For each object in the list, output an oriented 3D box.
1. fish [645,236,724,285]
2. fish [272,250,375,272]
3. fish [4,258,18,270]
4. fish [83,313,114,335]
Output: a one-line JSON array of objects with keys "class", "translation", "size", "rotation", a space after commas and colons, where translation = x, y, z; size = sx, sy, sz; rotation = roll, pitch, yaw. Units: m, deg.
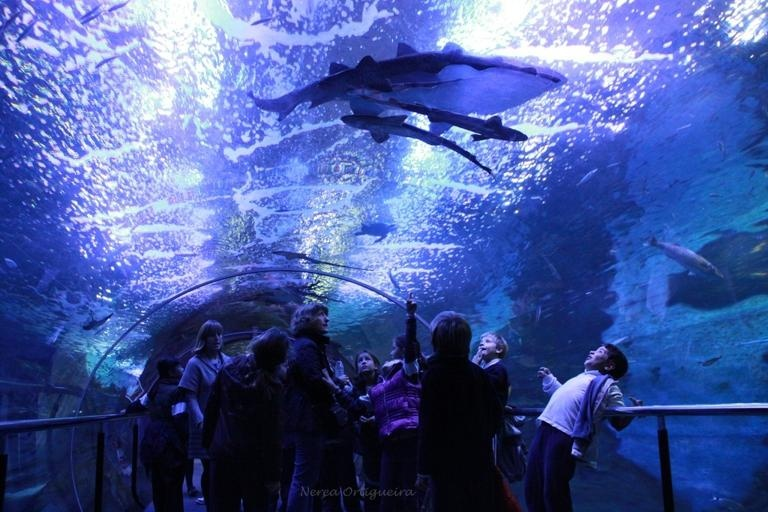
[{"class": "fish", "translation": [6.897, 0.080, 10.315], "size": [1.158, 1.043, 1.217], "rotation": [-1, 6, -8]}, {"class": "fish", "translation": [-1.624, 0.149, 10.459], "size": [2.162, 0.407, 0.338], "rotation": [2, -21, -18]}, {"class": "fish", "translation": [-6.400, 0.136, 7.402], "size": [0.099, 0.143, 0.205], "rotation": [-5, -19, 0]}, {"class": "fish", "translation": [-6.110, 1.378, 9.178], "size": [0.496, 0.343, 0.389], "rotation": [15, -27, -43]}]
